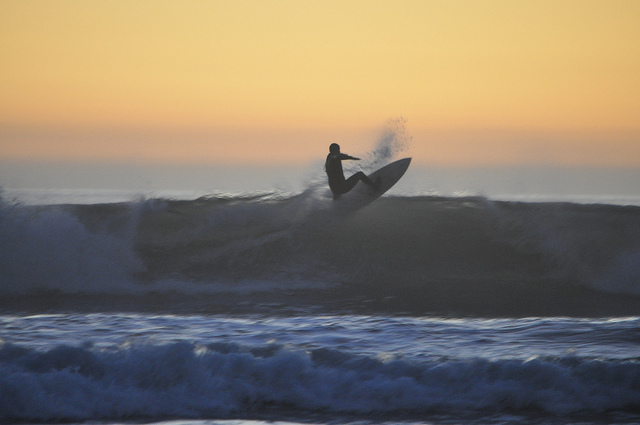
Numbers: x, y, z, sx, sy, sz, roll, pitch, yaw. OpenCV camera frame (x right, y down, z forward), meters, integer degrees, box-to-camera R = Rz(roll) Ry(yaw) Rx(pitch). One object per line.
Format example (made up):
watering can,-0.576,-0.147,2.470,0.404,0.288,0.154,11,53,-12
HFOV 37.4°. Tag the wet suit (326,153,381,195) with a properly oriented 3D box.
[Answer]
wet suit,0.728,-0.934,24.062,1.198,0.867,1.833,-10,12,-19
